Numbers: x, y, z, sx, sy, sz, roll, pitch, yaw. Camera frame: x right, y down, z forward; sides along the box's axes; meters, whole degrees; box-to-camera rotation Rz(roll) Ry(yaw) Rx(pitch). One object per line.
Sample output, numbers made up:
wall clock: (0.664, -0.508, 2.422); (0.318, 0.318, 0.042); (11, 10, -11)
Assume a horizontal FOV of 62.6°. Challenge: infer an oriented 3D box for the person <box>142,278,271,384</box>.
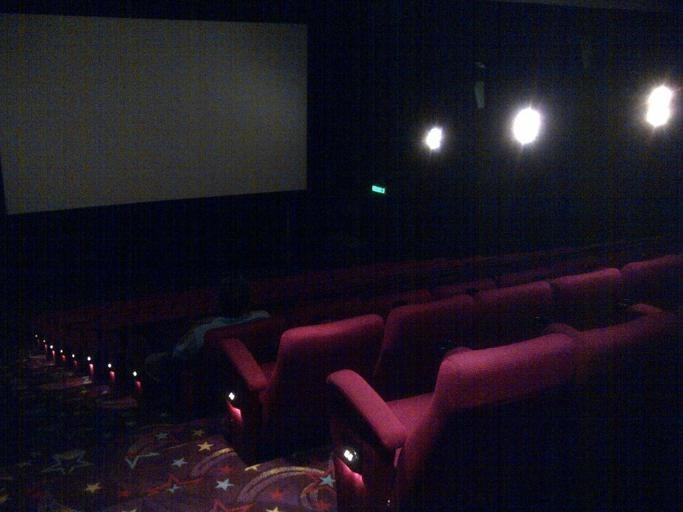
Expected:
person: (-1.161, 0.637, 4.889); (0.686, 1.191, 1.001); (4, -10, -33)
